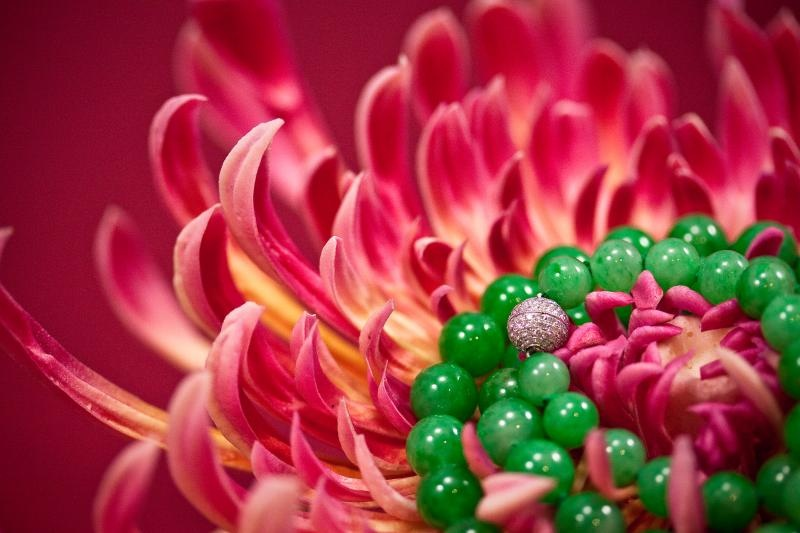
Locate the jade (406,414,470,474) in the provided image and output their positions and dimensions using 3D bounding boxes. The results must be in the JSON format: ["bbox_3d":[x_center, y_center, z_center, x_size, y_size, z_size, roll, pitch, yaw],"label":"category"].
[{"bbox_3d":[0.082,0.354,1.631,0.103,0.135,0.109,1,-2,11],"label":"jade"}]

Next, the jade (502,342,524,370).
[{"bbox_3d":[0.248,0.196,1.697,0.039,0.053,0.042,-1,4,11],"label":"jade"}]

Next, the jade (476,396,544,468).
[{"bbox_3d":[0.219,0.326,1.607,0.134,0.172,0.140,4,-7,-11],"label":"jade"}]

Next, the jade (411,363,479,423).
[{"bbox_3d":[0.096,0.260,1.628,0.109,0.145,0.118,-2,4,16],"label":"jade"}]

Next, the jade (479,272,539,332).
[{"bbox_3d":[0.239,0.066,1.807,0.111,0.138,0.113,-20,42,-20],"label":"jade"}]

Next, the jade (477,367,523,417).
[{"bbox_3d":[0.211,0.262,1.637,0.079,0.107,0.085,-1,-6,7],"label":"jade"}]
